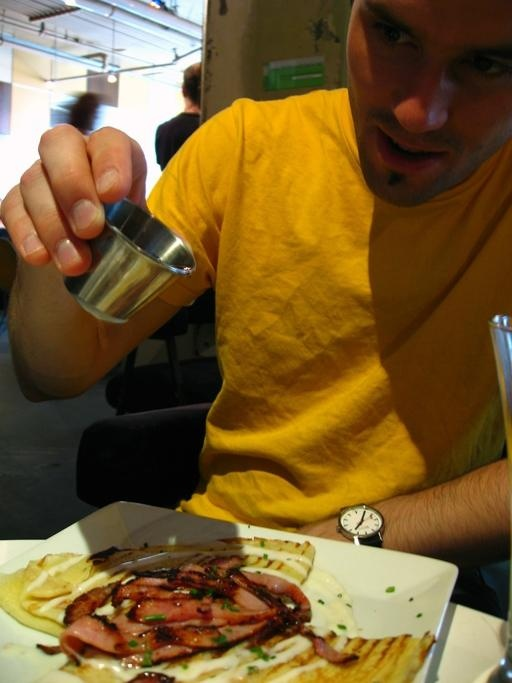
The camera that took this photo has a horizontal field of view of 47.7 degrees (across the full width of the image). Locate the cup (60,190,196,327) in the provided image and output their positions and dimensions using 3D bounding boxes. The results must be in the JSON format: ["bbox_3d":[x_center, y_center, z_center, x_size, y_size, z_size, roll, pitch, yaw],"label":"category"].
[{"bbox_3d":[-0.129,-0.079,0.602,0.128,0.126,0.083,30,41,23],"label":"cup"}]
